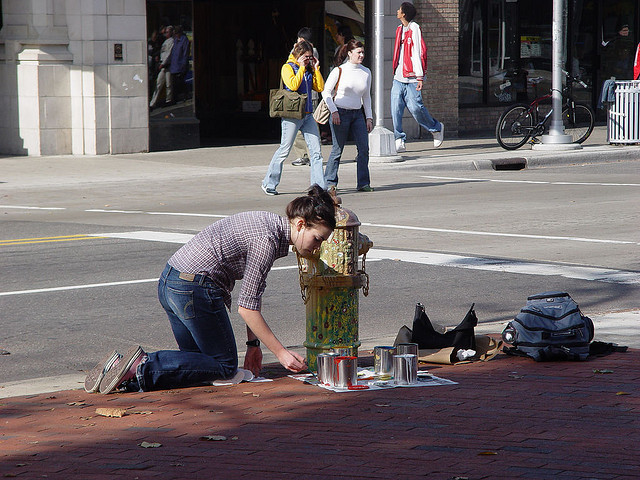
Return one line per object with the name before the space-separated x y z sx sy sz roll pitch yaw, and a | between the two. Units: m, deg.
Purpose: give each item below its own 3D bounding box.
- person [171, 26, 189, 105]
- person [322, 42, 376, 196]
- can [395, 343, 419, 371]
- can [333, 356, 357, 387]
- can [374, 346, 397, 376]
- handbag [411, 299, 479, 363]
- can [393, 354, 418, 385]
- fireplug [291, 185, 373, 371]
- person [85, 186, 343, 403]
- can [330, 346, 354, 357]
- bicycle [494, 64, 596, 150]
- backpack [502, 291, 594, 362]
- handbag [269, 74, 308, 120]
person | -2.711 -3.452 24.465 0.344 1.467 0.147 -2 8 -9
person | 0.392 -1.781 18.037 0.980 2.103 0.674 2 7 9
can | 0.634 0.888 9.650 0.208 0.209 0.197 -1 9 2
can | 0.186 0.975 9.335 0.205 0.179 0.221 -1 -1 0
can | 0.508 0.930 9.702 0.205 0.205 0.205 -1 2 -27
handbag | 1.020 0.759 10.309 0.517 0.431 0.160 1 -3 -4
can | 0.625 0.971 9.490 0.221 0.214 0.219 -2 3 -16
fireplug | 0.111 0.296 9.603 0.553 1.429 0.616 -1 8 2
person | -0.775 0.382 9.499 1.951 1.489 0.915 0 0 -11
can | 0.164 0.831 9.486 0.117 0.077 0.085 0 5 3
bicycle | 4.461 -2.629 24.800 2.288 1.268 1.071 1 7 -24
backpack | 1.863 0.679 10.244 0.744 0.380 0.945 -3 13 5
handbag | -0.451 -1.951 17.846 0.529 0.425 0.471 0 8 5
